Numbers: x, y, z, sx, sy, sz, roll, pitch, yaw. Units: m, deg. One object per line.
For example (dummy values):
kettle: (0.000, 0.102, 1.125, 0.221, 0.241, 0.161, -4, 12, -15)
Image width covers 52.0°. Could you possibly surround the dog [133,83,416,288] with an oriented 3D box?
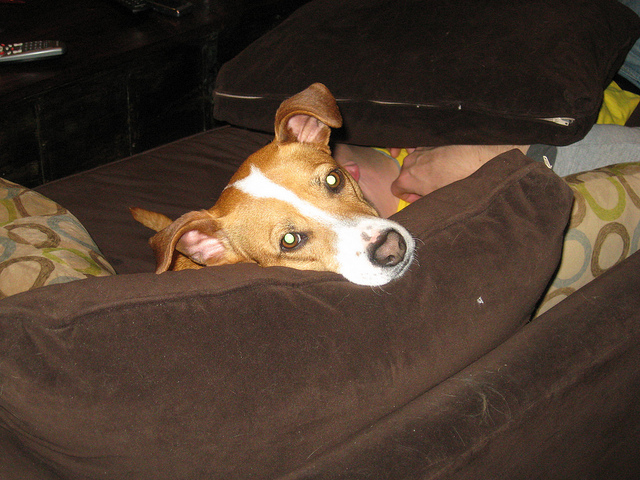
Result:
dog: (-0.033, -0.206, 2.885, 1.267, 0.632, 0.855, 5, -8, 36)
